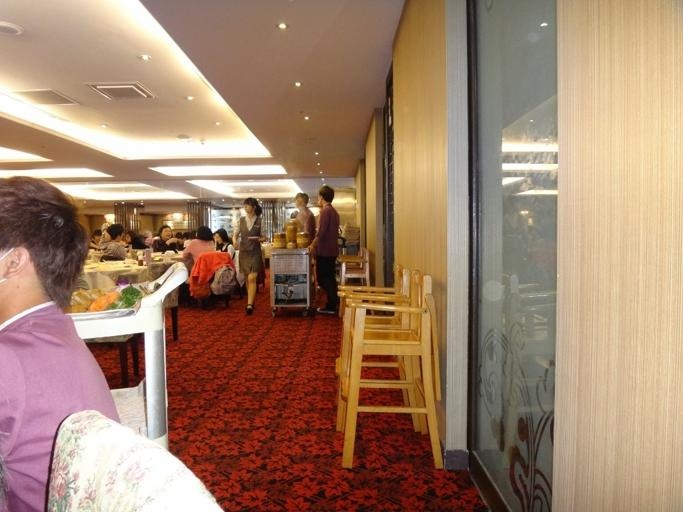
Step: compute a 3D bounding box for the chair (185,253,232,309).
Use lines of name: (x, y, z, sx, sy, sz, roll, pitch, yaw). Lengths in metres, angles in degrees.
chair: (-1.848, 0.286, 6.878, 0.569, 0.647, 0.622, 0, 0, -23)

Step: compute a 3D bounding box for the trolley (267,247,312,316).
trolley: (-0.639, 0.302, 6.472, 0.497, 0.885, 0.677, 1, 5, 5)

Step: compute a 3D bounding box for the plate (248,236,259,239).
plate: (-1.143, -0.232, 6.501, 0.159, 0.044, 0.066, 3, 7, 33)

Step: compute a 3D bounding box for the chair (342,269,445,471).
chair: (0.248, 0.728, 3.009, 0.690, 1.419, 1.026, 1, 0, 2)

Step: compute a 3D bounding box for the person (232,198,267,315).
person: (-1.214, -0.005, 6.656, 0.323, 1.522, 0.610, -2, 5, -12)
